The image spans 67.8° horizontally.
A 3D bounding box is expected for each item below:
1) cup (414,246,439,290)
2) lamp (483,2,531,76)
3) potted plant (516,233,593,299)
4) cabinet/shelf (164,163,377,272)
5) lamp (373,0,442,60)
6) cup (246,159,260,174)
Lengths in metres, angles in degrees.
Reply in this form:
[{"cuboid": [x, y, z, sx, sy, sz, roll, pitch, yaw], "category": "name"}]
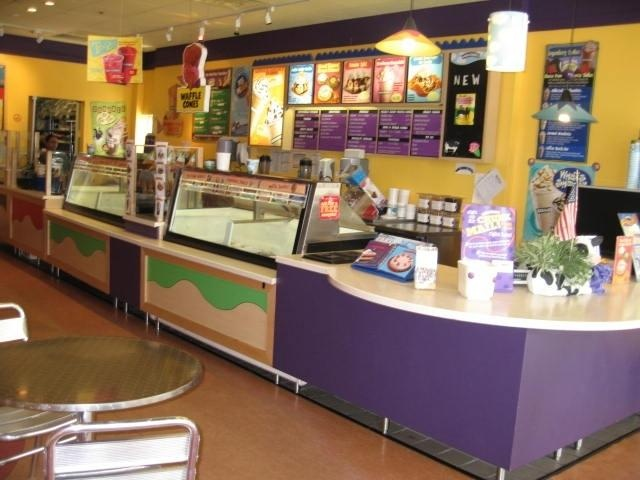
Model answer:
[{"cuboid": [0.625, 0.154, 2.810, 0.136, 0.258, 0.178, 6, 12, 12], "category": "cup"}, {"cuboid": [1.117, -1.171, 2.820, 0.235, 0.336, 0.141, 5, 12, 7], "category": "lamp"}, {"cuboid": [1.332, 0.152, 2.740, 0.379, 0.261, 0.385, 1, 6, 19], "category": "potted plant"}, {"cuboid": [-0.582, -0.211, 4.069, 1.716, 0.693, 0.705, 10, 14, 31], "category": "cabinet/shelf"}, {"cuboid": [0.647, -1.460, 3.343, 0.427, 0.309, 0.315, -8, 16, -42], "category": "lamp"}, {"cuboid": [-0.594, -0.663, 4.308, 0.136, 0.137, 0.131, 4, 10, -1], "category": "cup"}]
